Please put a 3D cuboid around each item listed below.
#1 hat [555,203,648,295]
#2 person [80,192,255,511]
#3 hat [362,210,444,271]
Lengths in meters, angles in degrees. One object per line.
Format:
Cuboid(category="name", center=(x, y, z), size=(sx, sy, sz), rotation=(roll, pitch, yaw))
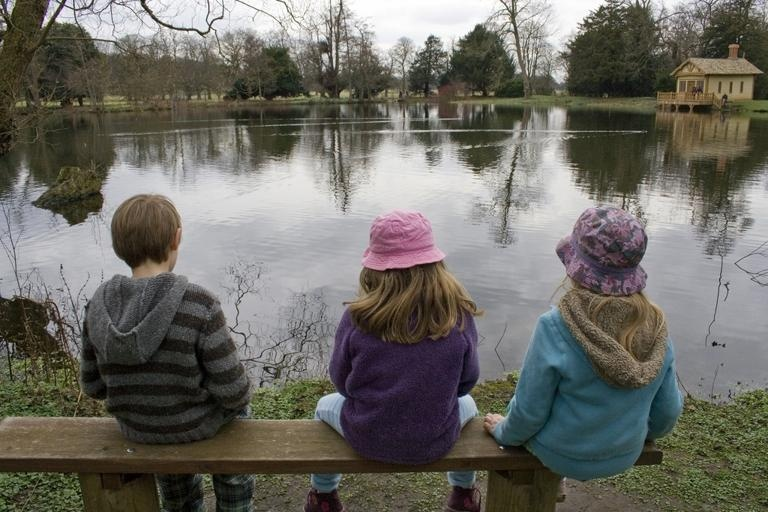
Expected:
Cuboid(category="hat", center=(1.493, -0.033, 5.146), size=(0.551, 0.349, 0.569), rotation=(3, 36, 6))
Cuboid(category="person", center=(-1.578, 0.444, 5.305), size=(1.193, 1.768, 0.453), rotation=(-2, 2, -10))
Cuboid(category="hat", center=(0.101, -0.101, 5.434), size=(0.420, 0.281, 0.459), rotation=(-4, 7, -2))
